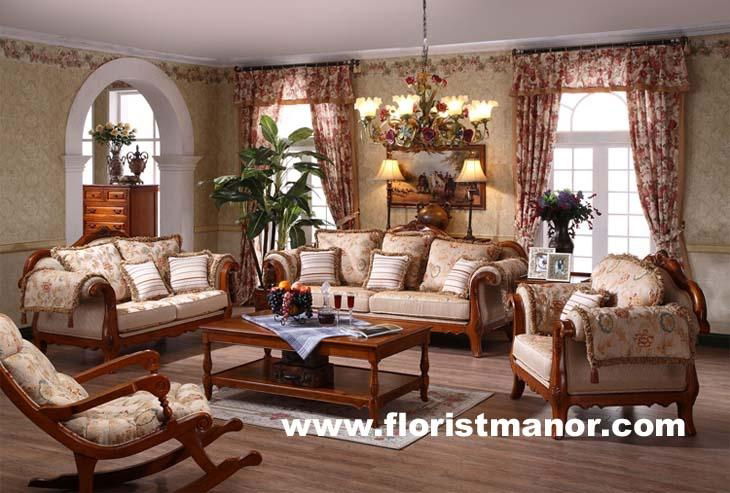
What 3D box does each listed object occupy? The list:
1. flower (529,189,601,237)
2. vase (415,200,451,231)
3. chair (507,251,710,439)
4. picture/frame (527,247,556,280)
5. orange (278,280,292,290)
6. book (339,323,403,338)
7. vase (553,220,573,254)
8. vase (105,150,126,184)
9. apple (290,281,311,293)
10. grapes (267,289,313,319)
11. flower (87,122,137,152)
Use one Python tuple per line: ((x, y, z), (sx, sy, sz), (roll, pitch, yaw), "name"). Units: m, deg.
((2.386, -0.413, 6.556), (0.774, 0.608, 0.752), (2, -5, -9), "flower")
((0.945, -0.444, 7.484), (0.447, 0.410, 0.381), (3, 7, 21), "vase")
((1.981, 0.736, 4.519), (1.291, 1.360, 1.045), (-1, 6, -5), "chair")
((1.978, 0.197, 6.015), (0.371, 0.470, 0.038), (3, -11, 29), "picture/frame")
((-0.746, 0.354, 4.952), (0.102, 0.097, 0.099), (4, 8, 17), "orange")
((0.039, 0.715, 4.678), (0.509, 0.038, 0.401), (-4, 7, -35), "book")
((2.290, -0.098, 6.220), (0.242, 0.350, 0.276), (0, 6, -1), "vase")
((-4.219, -1.351, 9.100), (0.247, 0.575, 0.128), (-1, 7, -8), "vase")
((-0.574, 0.381, 4.963), (0.148, 0.111, 0.197), (1, -5, 19), "apple")
((-0.679, 0.507, 4.783), (0.320, 0.174, 0.268), (1, -3, -4), "grapes")
((-4.167, -1.843, 8.959), (0.642, 0.414, 0.555), (-1, 6, -8), "flower")
